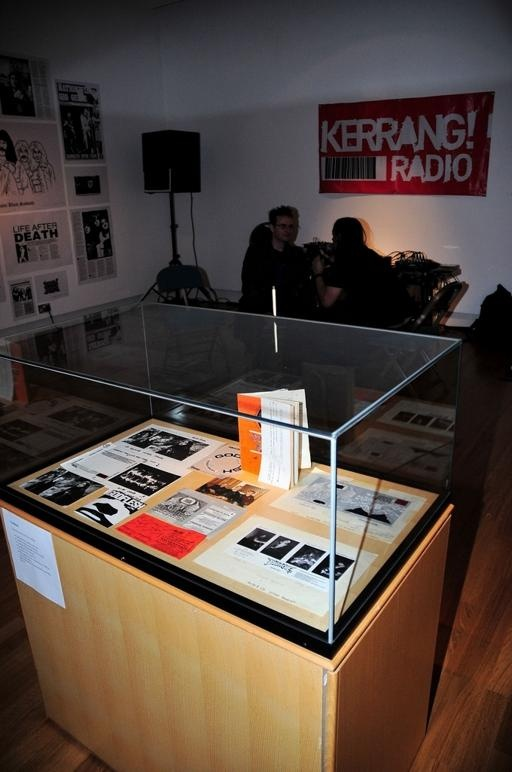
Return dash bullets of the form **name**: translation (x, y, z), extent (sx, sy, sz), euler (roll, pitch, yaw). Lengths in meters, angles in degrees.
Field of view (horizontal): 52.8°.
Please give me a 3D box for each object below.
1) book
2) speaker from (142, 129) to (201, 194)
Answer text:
- **book**: translation (0.039, 0.111, 1.095), extent (0.175, 0.205, 0.144), euler (5, 17, 26)
- **speaker**: translation (-0.971, -2.653, 6.149), extent (0.660, 0.970, 0.771), euler (4, 25, 8)
